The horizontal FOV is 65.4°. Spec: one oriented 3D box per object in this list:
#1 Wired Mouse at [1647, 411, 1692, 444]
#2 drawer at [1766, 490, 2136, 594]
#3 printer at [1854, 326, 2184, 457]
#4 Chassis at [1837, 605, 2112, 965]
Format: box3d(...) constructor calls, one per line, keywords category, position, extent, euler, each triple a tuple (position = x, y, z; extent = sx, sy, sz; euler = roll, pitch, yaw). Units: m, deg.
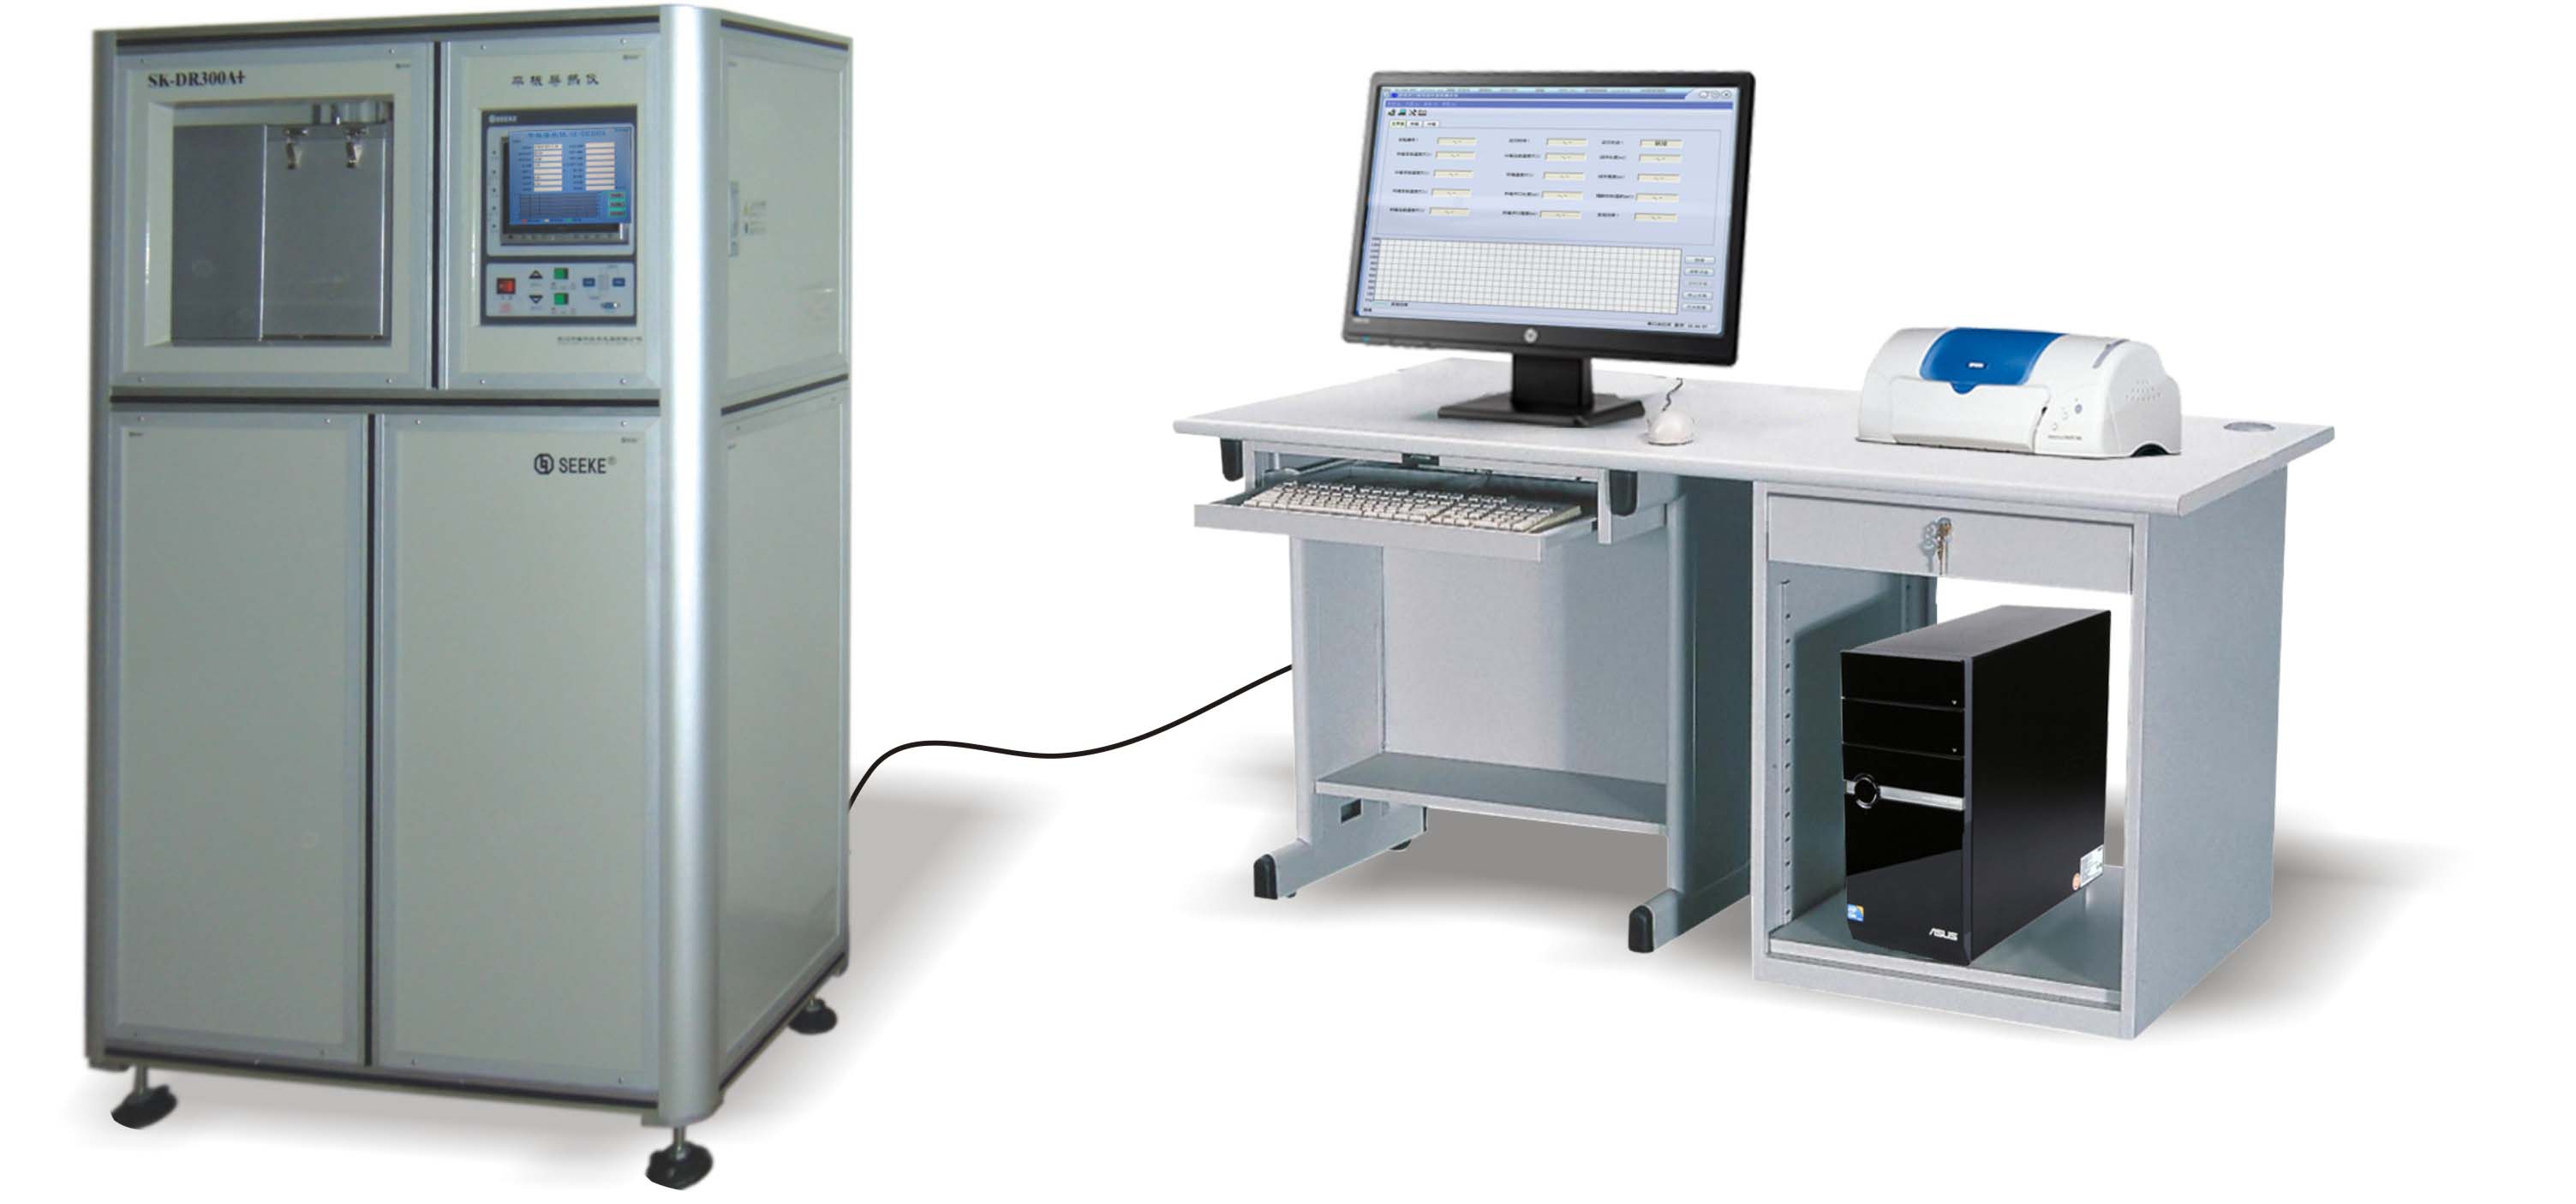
box3d(category="Wired Mouse", position=(1.096, -0.499, 5.757), extent=(0.131, 0.088, 0.162), euler=(5, 14, 11))
box3d(category="drawer", position=(1.782, -0.151, 5.450), extent=(0.956, 0.217, 0.152), euler=(8, 16, 24))
box3d(category="printer", position=(2.195, -0.664, 5.832), extent=(0.748, 0.318, 0.932), euler=(-21, 19, -38))
box3d(category="Chassis", position=(1.915, 0.528, 5.635), extent=(1.274, 0.869, 0.453), euler=(-10, 11, -43))
